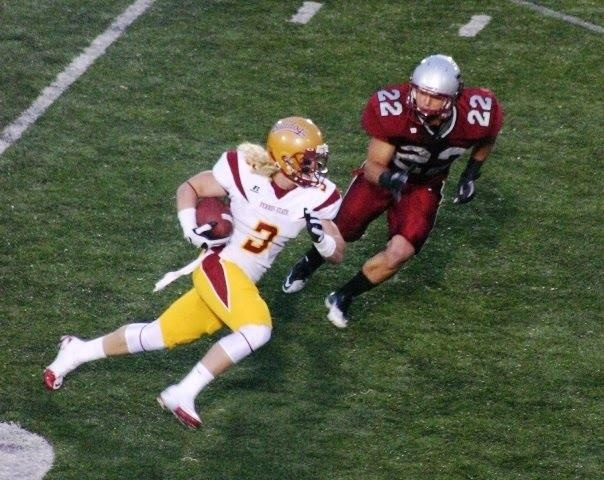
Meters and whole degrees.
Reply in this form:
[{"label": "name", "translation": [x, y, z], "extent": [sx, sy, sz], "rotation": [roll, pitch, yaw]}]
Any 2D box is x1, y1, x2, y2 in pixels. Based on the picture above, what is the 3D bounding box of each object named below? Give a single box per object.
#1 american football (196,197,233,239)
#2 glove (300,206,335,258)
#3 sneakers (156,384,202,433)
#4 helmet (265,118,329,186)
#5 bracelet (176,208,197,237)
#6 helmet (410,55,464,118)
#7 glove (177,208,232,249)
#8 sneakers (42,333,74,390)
[{"label": "american football", "translation": [-0.650, -0.181, 8.068], "extent": [0.268, 0.184, 0.307], "rotation": [-16, 44, 7]}, {"label": "glove", "translation": [0.129, -0.050, 8.070], "extent": [0.141, 0.468, 0.141], "rotation": [-1, 46, 37]}, {"label": "sneakers", "translation": [-0.852, 1.211, 7.874], "extent": [0.189, 0.191, 0.501], "rotation": [-36, 40, -28]}, {"label": "helmet", "translation": [-0.033, -0.703, 8.225], "extent": [0.578, 0.419, 0.446], "rotation": [21, 22, 26]}, {"label": "bracelet", "translation": [-0.849, -0.116, 8.086], "extent": [0.143, 0.104, 0.208], "rotation": [-12, 54, 17]}, {"label": "helmet", "translation": [1.062, -1.176, 8.347], "extent": [0.416, 0.376, 0.509], "rotation": [28, 37, 33]}, {"label": "glove", "translation": [-0.754, -0.093, 7.997], "extent": [0.350, 0.135, 0.279], "rotation": [46, 46, 8]}, {"label": "sneakers", "translation": [-1.821, 0.936, 8.360], "extent": [0.193, 0.178, 0.430], "rotation": [27, 90, 53]}]
